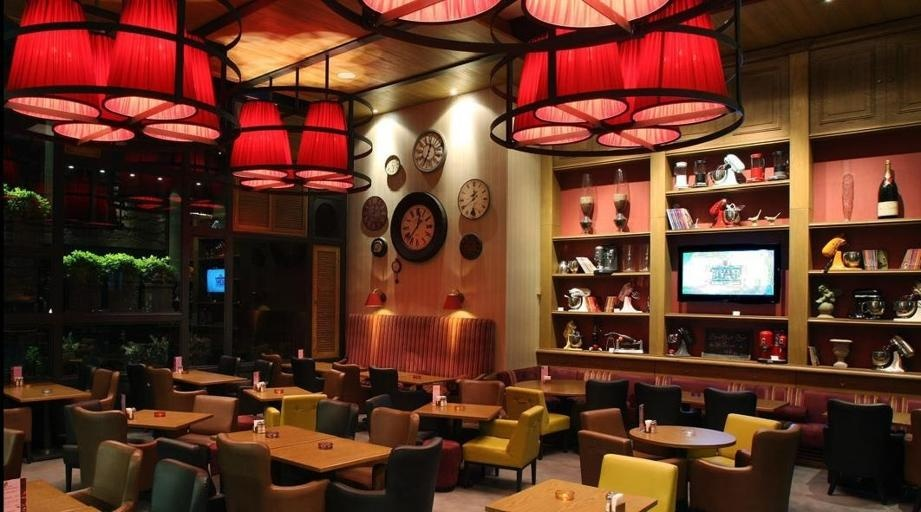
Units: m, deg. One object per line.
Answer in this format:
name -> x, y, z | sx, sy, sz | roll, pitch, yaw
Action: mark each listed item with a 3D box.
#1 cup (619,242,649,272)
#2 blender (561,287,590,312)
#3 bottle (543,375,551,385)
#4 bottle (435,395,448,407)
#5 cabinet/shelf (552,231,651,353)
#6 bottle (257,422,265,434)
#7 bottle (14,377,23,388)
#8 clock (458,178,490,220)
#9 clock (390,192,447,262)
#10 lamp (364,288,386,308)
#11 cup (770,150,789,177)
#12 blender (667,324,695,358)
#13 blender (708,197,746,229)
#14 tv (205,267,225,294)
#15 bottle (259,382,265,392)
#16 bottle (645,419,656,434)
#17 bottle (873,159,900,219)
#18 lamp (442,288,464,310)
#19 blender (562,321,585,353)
cup -> 3.294, 0.035, 12.587 | 0.532, 0.538, 0.507 | 1, -10, 0
blender -> 2.265, 0.874, 13.135 | 0.480, 0.424, 0.372 | 3, -5, 7
bottle -> 1.580, 2.268, 12.209 | 0.128, 0.111, 0.119 | 7, -11, -35
bottle -> -0.326, 2.283, 10.495 | 0.092, 0.195, 0.256 | -7, -10, 38
cabinet/shelf -> 2.772, 0.712, 12.902 | 2.386, 2.496, 0.706 | -3, -9, 31
bottle -> -2.703, 2.302, 8.973 | 0.109, 0.162, 0.078 | 3, -4, -15
bottle -> -7.482, 2.144, 11.288 | 0.148, 0.147, 0.153 | -2, -4, 42
clock -> 0.255, -1.119, 13.236 | 0.841, 0.787, 0.057 | 1, -1, 43
clock -> -0.949, -0.628, 14.066 | 1.565, 1.443, 0.228 | 6, 3, 40
lamp -> -1.804, 0.914, 14.480 | 0.377, 0.379, 0.459 | -9, -18, 35
cup -> 5.511, -1.560, 11.518 | 0.242, 0.563, 0.333 | 0, -5, 23
blender -> 4.001, 1.575, 12.202 | 0.534, 0.501, 0.512 | 4, -4, 13
blender -> 4.687, -0.778, 11.964 | 0.570, 0.502, 0.565 | 4, -10, -23
tv -> -5.032, 0.513, 13.557 | 0.515, 0.626, 0.068 | 10, -20, -30
bottle -> -3.356, 2.217, 11.227 | 0.132, 0.157, 0.114 | 5, -8, -44
bottle -> 2.683, 2.405, 9.429 | 0.134, 0.151, 0.233 | 0, -5, 19
bottle -> 6.946, -1.094, 10.858 | 0.338, 1.022, 0.385 | -2, -5, 38
lamp -> -0.172, 0.883, 13.268 | 0.330, 0.398, 0.361 | -3, -6, 43
blender -> 2.199, 1.571, 13.151 | 0.555, 0.680, 0.479 | 5, -11, -22
